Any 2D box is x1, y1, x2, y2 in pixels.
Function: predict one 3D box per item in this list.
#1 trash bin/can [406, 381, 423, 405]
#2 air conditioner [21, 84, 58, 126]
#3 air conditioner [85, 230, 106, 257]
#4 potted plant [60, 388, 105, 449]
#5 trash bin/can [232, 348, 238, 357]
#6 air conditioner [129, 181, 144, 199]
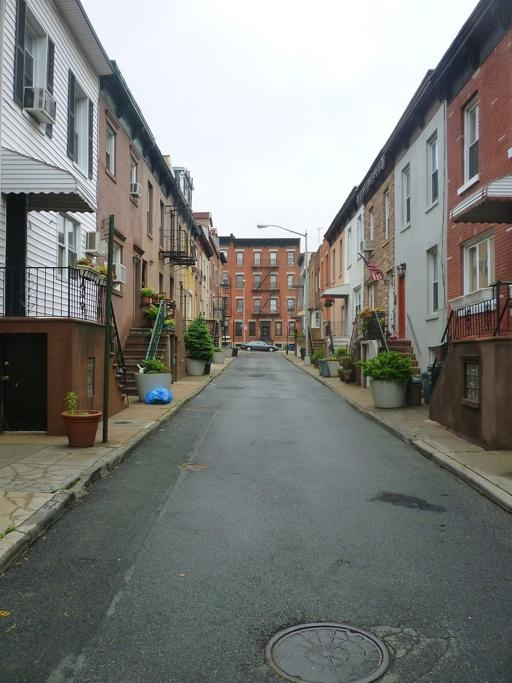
[{"bbox_3d":[4.036,1.351,15.307,0.426,0.693,0.489,3,-6,-17],"label":"trash bin/can"},{"bbox_3d":[-4.138,-4.549,11.314,0.369,0.568,0.791,0,-1,0],"label":"air conditioner"},{"bbox_3d":[-4.114,-2.500,15.193,0.385,0.557,0.649,0,-1,2],"label":"air conditioner"},{"bbox_3d":[-2.708,1.183,9.239,0.593,1.091,0.729,-1,-4,11],"label":"potted plant"},{"bbox_3d":[-1.754,0.887,49.848,0.439,1.207,0.544,1,-4,-6],"label":"trash bin/can"},{"bbox_3d":[-4.083,-5.417,20.281,0.333,0.620,0.754,2,2,-2],"label":"air conditioner"}]
